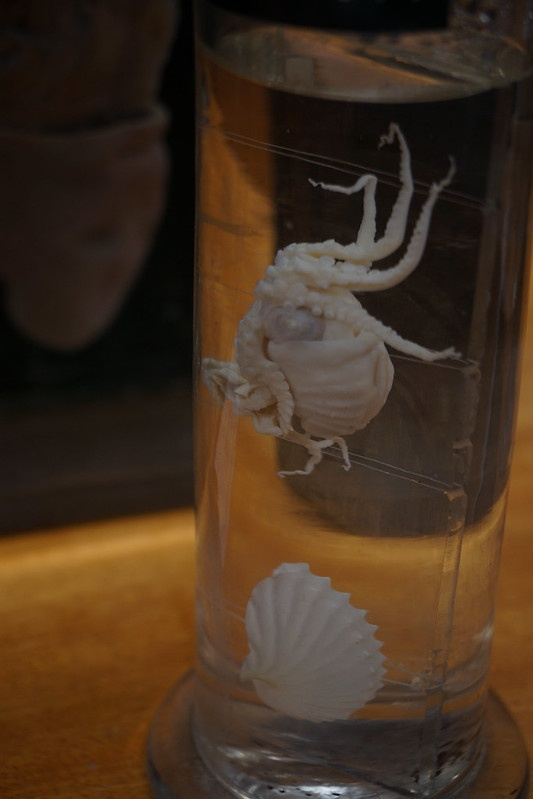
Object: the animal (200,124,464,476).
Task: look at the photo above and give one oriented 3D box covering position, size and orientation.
[{"bbox_3d":[0.047,-0.068,0.707,0.206,0.274,0.113,-2,26,-1],"label":"animal"}]
